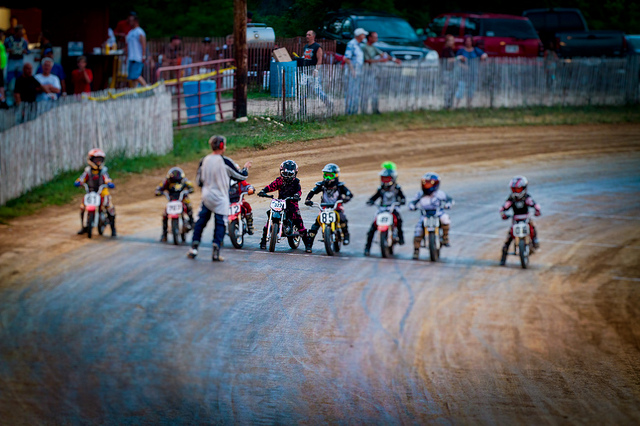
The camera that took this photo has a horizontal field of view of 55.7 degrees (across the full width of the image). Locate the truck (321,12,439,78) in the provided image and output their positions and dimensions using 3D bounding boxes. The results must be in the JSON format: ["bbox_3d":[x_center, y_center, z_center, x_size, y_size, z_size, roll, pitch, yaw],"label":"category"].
[{"bbox_3d":[2.596,-7.268,26.033,2.649,2.360,5.088,-6,19,-30],"label":"truck"}]

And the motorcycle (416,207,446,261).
[{"bbox_3d":[2.162,0.394,11.670,0.507,1.021,0.552,1,9,9],"label":"motorcycle"}]

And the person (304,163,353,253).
[{"bbox_3d":[0.122,-0.152,11.726,0.915,1.534,0.912,-4,-14,11],"label":"person"}]

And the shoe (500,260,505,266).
[{"bbox_3d":[3.442,0.949,11.366,0.067,0.091,0.030,-6,-29,7],"label":"shoe"}]

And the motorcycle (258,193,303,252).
[{"bbox_3d":[-0.706,0.221,11.886,0.692,1.129,0.432,-6,11,-32],"label":"motorcycle"}]

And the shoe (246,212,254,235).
[{"bbox_3d":[-1.456,0.224,12.466,0.139,0.479,0.180,-3,9,-11],"label":"shoe"}]

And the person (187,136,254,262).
[{"bbox_3d":[-1.928,-0.257,11.229,1.089,2.271,0.506,-6,11,-31],"label":"person"}]

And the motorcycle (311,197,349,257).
[{"bbox_3d":[0.248,0.275,11.774,0.592,1.129,0.422,-7,11,-32],"label":"motorcycle"}]

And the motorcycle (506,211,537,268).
[{"bbox_3d":[3.791,0.496,11.358,0.458,1.004,0.632,4,10,27],"label":"motorcycle"}]

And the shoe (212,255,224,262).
[{"bbox_3d":[-1.887,0.860,11.165,0.225,0.077,0.155,0,-18,-3],"label":"shoe"}]

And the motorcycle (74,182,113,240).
[{"bbox_3d":[-4.593,-0.041,12.455,0.578,1.090,0.449,-8,11,-36],"label":"motorcycle"}]

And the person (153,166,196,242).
[{"bbox_3d":[-2.841,-0.147,12.209,0.877,0.915,1.446,-7,23,2],"label":"person"}]

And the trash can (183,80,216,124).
[{"bbox_3d":[-4.577,-3.835,21.458,1.376,1.512,1.380,5,13,29],"label":"trash can"}]

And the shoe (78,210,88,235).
[{"bbox_3d":[-4.717,0.312,12.460,0.186,0.618,0.516,2,11,-10],"label":"shoe"}]

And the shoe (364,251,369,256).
[{"bbox_3d":[0.917,0.801,11.774,0.101,0.094,0.058,-4,10,-20],"label":"shoe"}]

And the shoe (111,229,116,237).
[{"bbox_3d":[-4.259,0.421,12.440,0.101,0.175,0.105,1,1,-8],"label":"shoe"}]

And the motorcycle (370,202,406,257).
[{"bbox_3d":[1.420,0.237,11.944,0.654,1.018,1.753,2,8,15],"label":"motorcycle"}]

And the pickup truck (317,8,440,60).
[{"bbox_3d":[2.377,-7.694,26.127,5.399,2.500,2.499,6,11,39],"label":"pickup truck"}]

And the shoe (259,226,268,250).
[{"bbox_3d":[-1.108,0.541,11.939,0.183,0.490,0.398,4,9,0],"label":"shoe"}]
